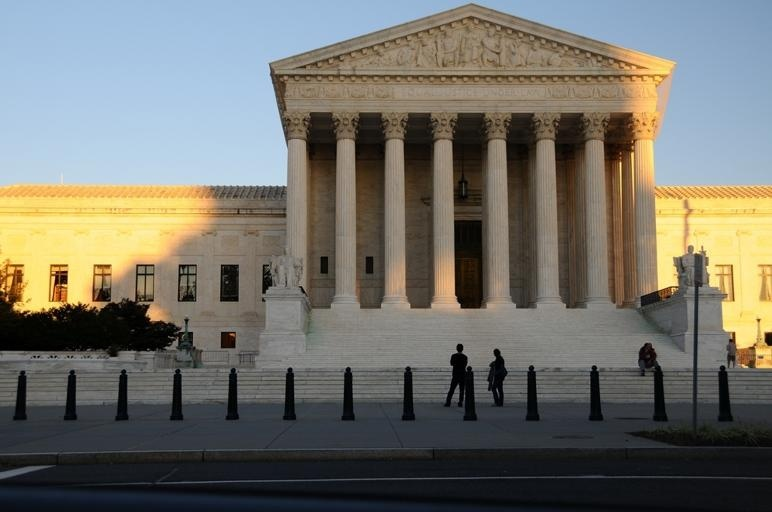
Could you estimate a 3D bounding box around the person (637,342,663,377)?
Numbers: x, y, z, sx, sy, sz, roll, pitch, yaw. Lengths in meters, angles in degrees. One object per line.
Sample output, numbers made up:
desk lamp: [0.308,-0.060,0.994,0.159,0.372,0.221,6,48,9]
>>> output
person: [11.326,4.461,41.114,0.667,1.344,0.954,-1,-3,15]

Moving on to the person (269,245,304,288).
person: [-5.024,0.779,46.872,1.578,1.774,1.060,1,-3,-9]
